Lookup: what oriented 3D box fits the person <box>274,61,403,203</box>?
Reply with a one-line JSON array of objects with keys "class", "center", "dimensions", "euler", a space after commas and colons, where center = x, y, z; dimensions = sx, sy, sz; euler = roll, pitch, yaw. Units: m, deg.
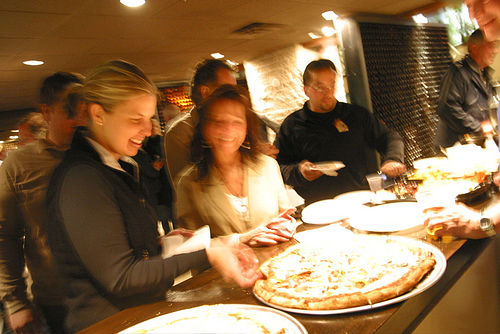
[{"class": "person", "center": [0.514, -0.194, 2.215], "dimensions": [0.687, 0.838, 0.522], "euler": [-37, 26, -15]}]

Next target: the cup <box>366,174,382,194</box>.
[{"class": "cup", "center": [0.746, 0.091, 2.238], "dimensions": [0.097, 0.080, 0.102], "euler": [-1, 3, 0]}]
